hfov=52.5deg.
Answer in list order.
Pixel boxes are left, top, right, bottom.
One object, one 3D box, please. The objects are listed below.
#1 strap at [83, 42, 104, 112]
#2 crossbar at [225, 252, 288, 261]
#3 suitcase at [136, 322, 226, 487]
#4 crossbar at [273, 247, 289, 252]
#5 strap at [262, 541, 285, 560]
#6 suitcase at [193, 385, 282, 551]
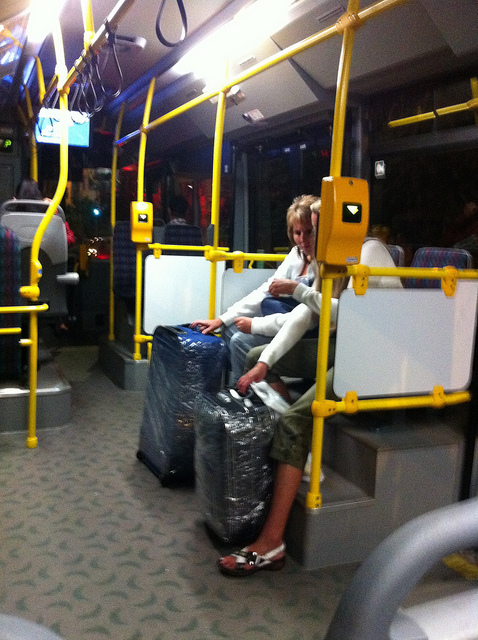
[{"bbox_3d":[-1.139,-1.851,3.676,0.172,0.638,0.080,-8,-6,26],"label":"strap"},{"bbox_3d":[0.148,-0.501,3.833,0.451,0.058,0.608,2,6,4],"label":"crossbar"},{"bbox_3d":[-0.393,0.459,2.784,0.456,0.892,0.510,-2,8,-27],"label":"suitcase"},{"bbox_3d":[0.524,-0.872,5.962,0.121,0.066,0.085,10,17,24],"label":"crossbar"},{"bbox_3d":[0.149,0.941,2.028,0.116,0.039,0.033,-22,13,-37],"label":"strap"},{"bbox_3d":[-0.003,0.632,2.205,0.340,0.620,0.345,0,6,-18],"label":"suitcase"}]
